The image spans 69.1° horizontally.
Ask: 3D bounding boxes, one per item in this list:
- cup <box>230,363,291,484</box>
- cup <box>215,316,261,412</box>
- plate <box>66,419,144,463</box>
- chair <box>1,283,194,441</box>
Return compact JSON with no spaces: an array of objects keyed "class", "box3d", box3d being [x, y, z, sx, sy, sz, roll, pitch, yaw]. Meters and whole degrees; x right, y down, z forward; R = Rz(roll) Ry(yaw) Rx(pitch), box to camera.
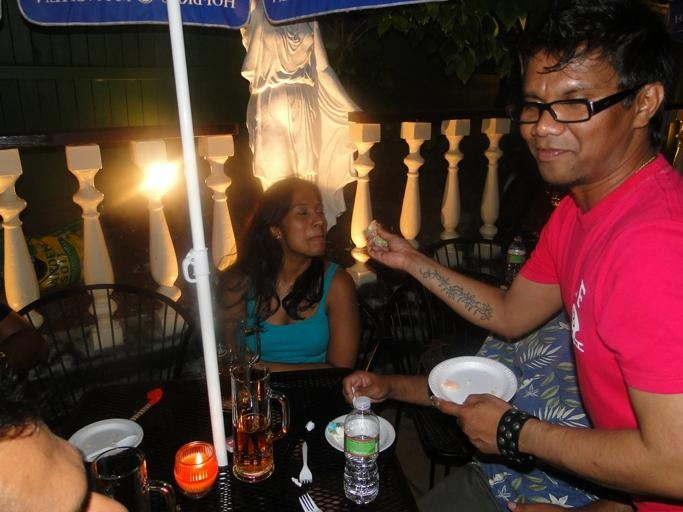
[{"class":"cup","box3d":[-0.292,0.558,1.770,0.204,0.371,0.332,-4,9,3]},{"class":"cup","box3d":[-0.416,0.427,2.120,0.191,0.348,0.322,0,0,-35]},{"class":"plate","box3d":[-0.841,0.667,1.830,0.212,0.032,0.223,22,27,27]},{"class":"chair","box3d":[-1.255,0.540,2.610,0.598,0.798,0.558,-12,35,-26]}]
